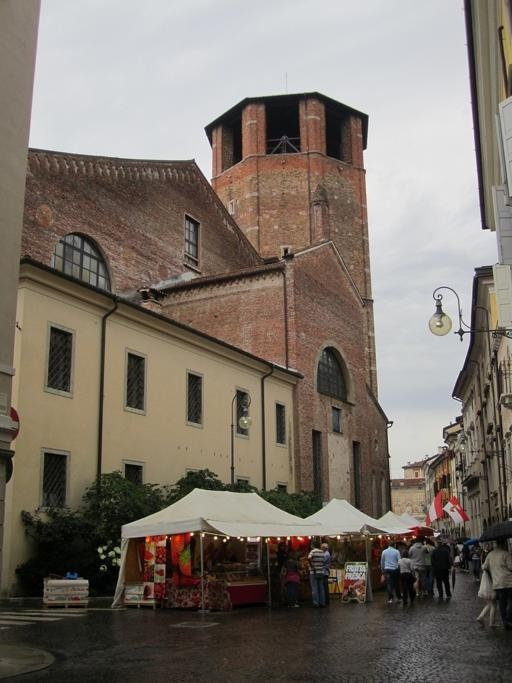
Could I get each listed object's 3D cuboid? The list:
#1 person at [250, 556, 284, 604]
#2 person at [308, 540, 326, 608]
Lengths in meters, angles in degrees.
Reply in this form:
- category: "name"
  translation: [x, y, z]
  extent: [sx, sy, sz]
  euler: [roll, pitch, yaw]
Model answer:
- category: "person"
  translation: [0.313, 5.491, 16.896]
  extent: [0.590, 1.026, 1.524]
  euler: [-2, -15, 1]
- category: "person"
  translation: [1.370, 5.180, 16.139]
  extent: [0.396, 1.195, 1.254]
  euler: [-3, -15, 4]
